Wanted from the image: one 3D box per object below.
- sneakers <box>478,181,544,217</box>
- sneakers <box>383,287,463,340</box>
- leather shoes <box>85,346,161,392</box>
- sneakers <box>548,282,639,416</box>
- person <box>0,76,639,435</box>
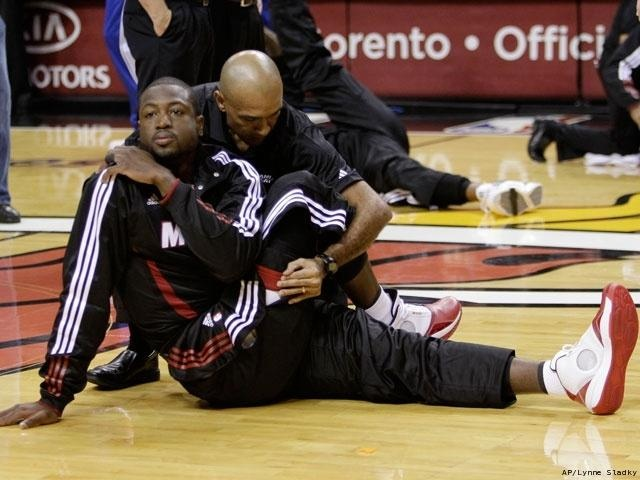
[{"bbox_3d":[1.257,-0.271,4.636,0.264,0.136,0.345,-13,19,-40],"label":"sneakers"},{"bbox_3d":[0.444,0.284,2.688,0.399,0.167,0.119,6,42,-26],"label":"sneakers"},{"bbox_3d":[-0.675,0.454,2.488,0.105,0.109,0.278,0,0,42],"label":"leather shoes"},{"bbox_3d":[0.781,0.321,2.017,0.214,0.440,0.168,20,24,38],"label":"sneakers"},{"bbox_3d":[-0.099,0.021,2.191,1.809,0.868,0.972,6,17,16],"label":"person"}]
